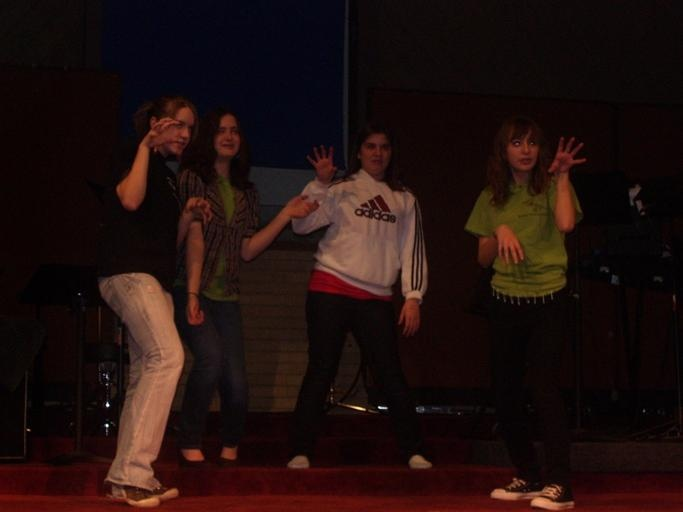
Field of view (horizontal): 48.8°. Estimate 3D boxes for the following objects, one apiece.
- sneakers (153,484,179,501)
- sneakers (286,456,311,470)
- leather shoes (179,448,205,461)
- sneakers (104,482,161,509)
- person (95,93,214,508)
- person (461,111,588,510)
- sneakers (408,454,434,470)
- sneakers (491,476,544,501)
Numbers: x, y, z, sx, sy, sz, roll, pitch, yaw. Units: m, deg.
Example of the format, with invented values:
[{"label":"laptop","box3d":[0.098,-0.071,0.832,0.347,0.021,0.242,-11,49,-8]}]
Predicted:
[{"label":"sneakers","box3d":[-0.824,1.120,3.535,0.131,0.056,0.050,-12,-9,42]},{"label":"sneakers","box3d":[-0.220,1.078,3.911,0.116,0.076,0.180,2,3,-4]},{"label":"leather shoes","box3d":[-0.759,1.023,3.853,0.141,0.061,0.052,-7,-12,34]},{"label":"sneakers","box3d":[-0.938,1.080,3.424,0.269,0.115,0.113,1,-7,19]},{"label":"person","box3d":[-0.883,0.199,3.564,0.511,1.948,0.514,1,3,-19]},{"label":"person","box3d":[0.905,0.254,3.691,0.413,1.887,0.683,1,3,-11]},{"label":"sneakers","box3d":[0.414,1.088,3.937,0.121,0.070,0.110,2,3,3]},{"label":"sneakers","box3d":[0.860,1.152,3.711,0.261,0.114,0.100,1,-11,4]}]
